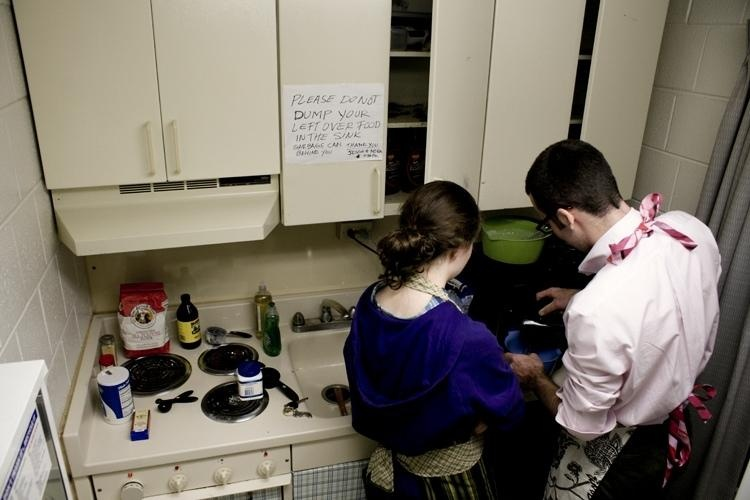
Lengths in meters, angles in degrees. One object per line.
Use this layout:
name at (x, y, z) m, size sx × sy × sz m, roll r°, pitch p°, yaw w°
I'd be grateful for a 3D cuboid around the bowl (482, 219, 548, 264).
bowl at (0.619, -0.045, 2.500) m, size 0.221 × 0.095 × 0.253 m, roll -15°, pitch 25°, yaw -38°

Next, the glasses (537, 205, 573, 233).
glasses at (0.637, -0.106, 1.967) m, size 0.024 × 0.084 × 0.081 m, roll -30°, pitch -17°, yaw 34°

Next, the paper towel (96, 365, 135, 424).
paper towel at (-1.009, 0.579, 2.166) m, size 0.109 × 0.185 × 0.123 m, roll 10°, pitch 21°, yaw 28°

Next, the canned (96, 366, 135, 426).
canned at (-1.008, 0.577, 2.139) m, size 0.138 × 0.225 × 0.145 m, roll -15°, pitch 21°, yaw -33°
